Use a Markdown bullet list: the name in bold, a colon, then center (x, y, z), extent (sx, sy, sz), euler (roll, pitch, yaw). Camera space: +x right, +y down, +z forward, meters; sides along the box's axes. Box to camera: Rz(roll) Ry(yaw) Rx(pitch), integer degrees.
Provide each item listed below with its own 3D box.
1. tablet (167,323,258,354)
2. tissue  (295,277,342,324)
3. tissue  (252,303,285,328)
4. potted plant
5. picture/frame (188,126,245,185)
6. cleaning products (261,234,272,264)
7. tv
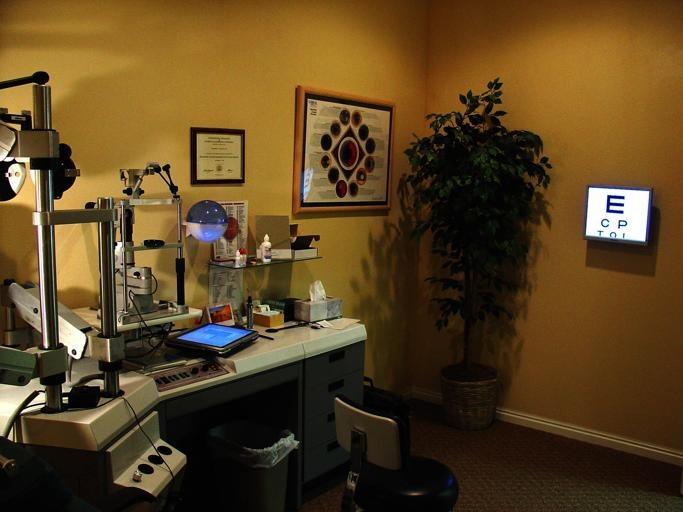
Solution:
- **tablet**: center (-0.773, 0.492, 3.497), extent (0.488, 0.131, 0.416), euler (18, 7, -4)
- **tissue **: center (-0.162, 0.197, 4.279), extent (0.234, 0.431, 0.470), euler (6, 9, 33)
- **tissue **: center (-0.529, 0.399, 4.071), extent (0.157, 0.121, 0.159), euler (4, 7, 36)
- **potted plant**: center (1.099, -0.012, 4.860), extent (1.143, 2.888, 0.847), euler (4, 10, 19)
- **picture/frame**: center (-0.831, -0.658, 3.875), extent (0.406, 0.373, 0.029), euler (-7, 13, -39)
- **cleaning products**: center (-0.527, -0.050, 4.034), extent (0.075, 0.175, 0.180), euler (0, 10, -8)
- **tv**: center (2.109, -0.314, 4.431), extent (0.439, 0.459, 0.080), euler (8, 9, 36)
